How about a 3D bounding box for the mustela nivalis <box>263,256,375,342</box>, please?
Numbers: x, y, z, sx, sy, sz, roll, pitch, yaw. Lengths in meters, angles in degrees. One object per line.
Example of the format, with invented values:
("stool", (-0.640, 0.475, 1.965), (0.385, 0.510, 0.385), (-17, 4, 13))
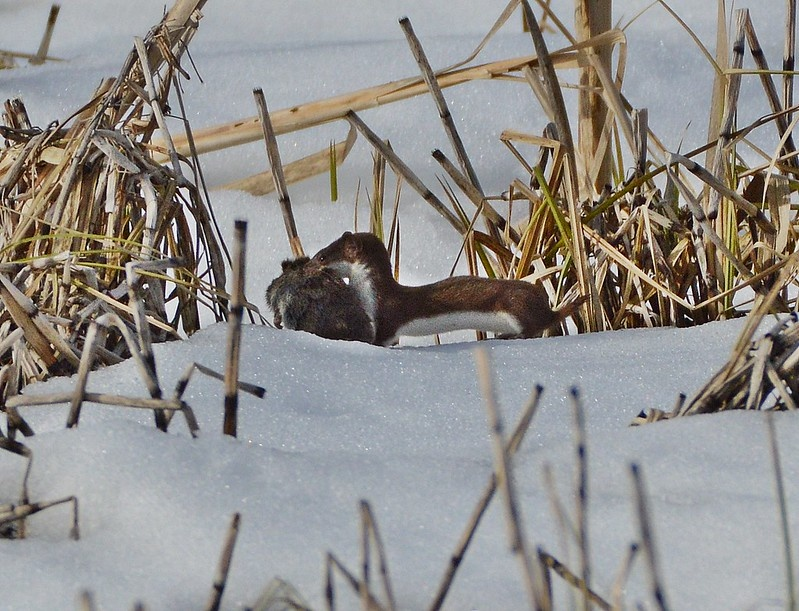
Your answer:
("mustela nivalis", (-0.247, 0.009, 4.816), (0.317, 0.204, 0.236), (29, 96, 19))
